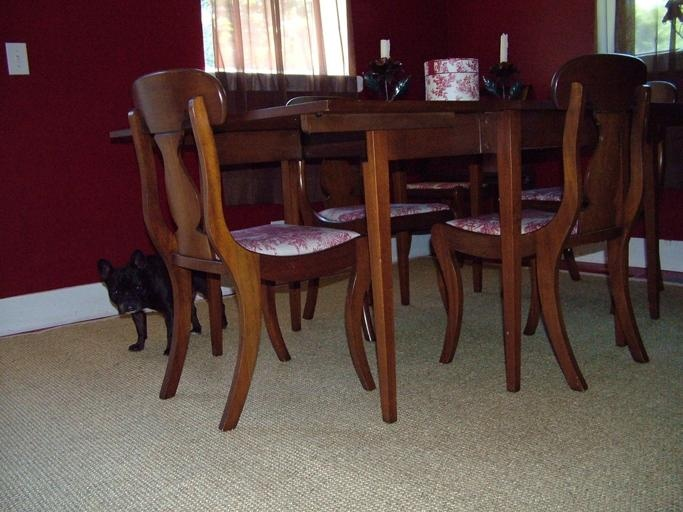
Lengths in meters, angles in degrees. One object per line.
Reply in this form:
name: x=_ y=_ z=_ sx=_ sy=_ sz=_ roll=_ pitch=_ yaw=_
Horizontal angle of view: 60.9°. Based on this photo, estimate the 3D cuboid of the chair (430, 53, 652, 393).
chair: x=0.848 y=-0.154 z=2.409 sx=0.698 sy=1.231 sz=0.819 roll=2 pitch=13 yaw=23

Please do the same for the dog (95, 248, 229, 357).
dog: x=-0.931 y=0.211 z=2.860 sx=0.204 sy=0.496 sz=0.662 roll=-15 pitch=6 yaw=1

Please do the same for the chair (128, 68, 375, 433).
chair: x=-0.341 y=-0.041 z=2.207 sx=0.600 sy=1.221 sz=0.713 roll=4 pitch=12 yaw=37
